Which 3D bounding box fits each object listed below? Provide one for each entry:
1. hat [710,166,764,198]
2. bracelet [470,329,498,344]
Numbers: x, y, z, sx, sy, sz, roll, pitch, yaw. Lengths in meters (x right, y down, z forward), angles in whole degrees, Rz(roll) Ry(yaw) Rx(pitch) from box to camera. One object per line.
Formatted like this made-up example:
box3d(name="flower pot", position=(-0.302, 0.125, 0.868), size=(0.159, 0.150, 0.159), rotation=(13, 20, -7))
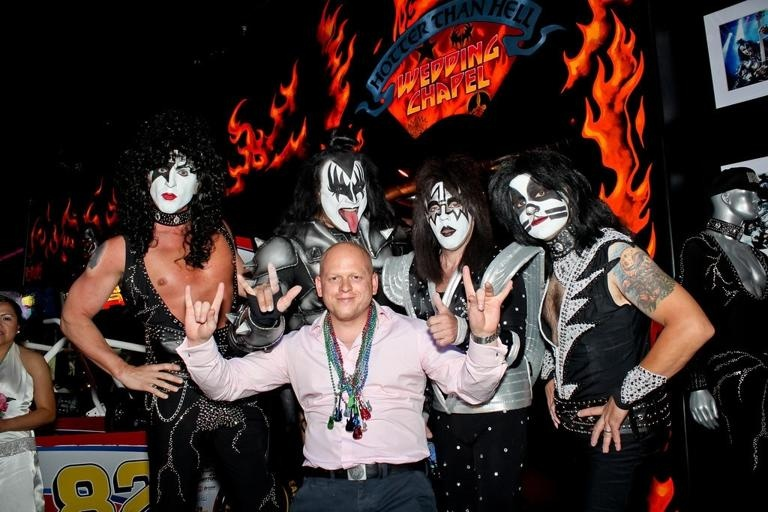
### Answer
box3d(name="hat", position=(3.021, -0.620, 4.778), size=(0.323, 0.196, 0.234), rotation=(-4, 5, 5))
box3d(name="bracelet", position=(0.649, 0.527, 3.621), size=(0.173, 0.078, 0.080), rotation=(-6, -2, 4))
